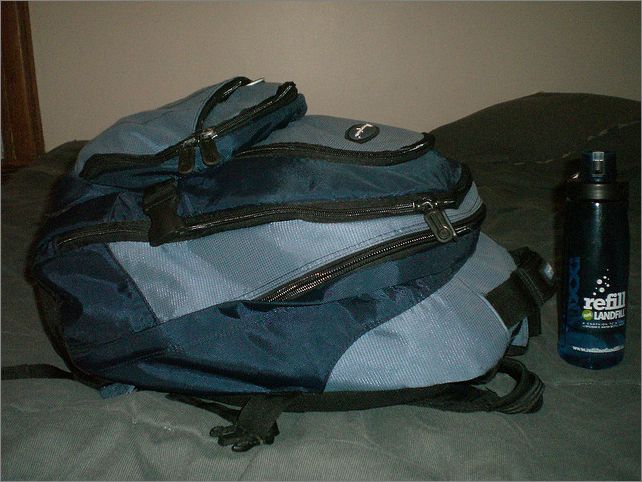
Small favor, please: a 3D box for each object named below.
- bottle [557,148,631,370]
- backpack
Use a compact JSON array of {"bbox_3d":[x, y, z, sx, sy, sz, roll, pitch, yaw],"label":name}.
[{"bbox_3d":[0.447,0.035,1.000,0.103,0.360,0.097,-6,16,2],"label":"bottle"},{"bbox_3d":[-0.074,0.042,1.023,0.753,0.320,0.551,2,27,4],"label":"backpack"}]
